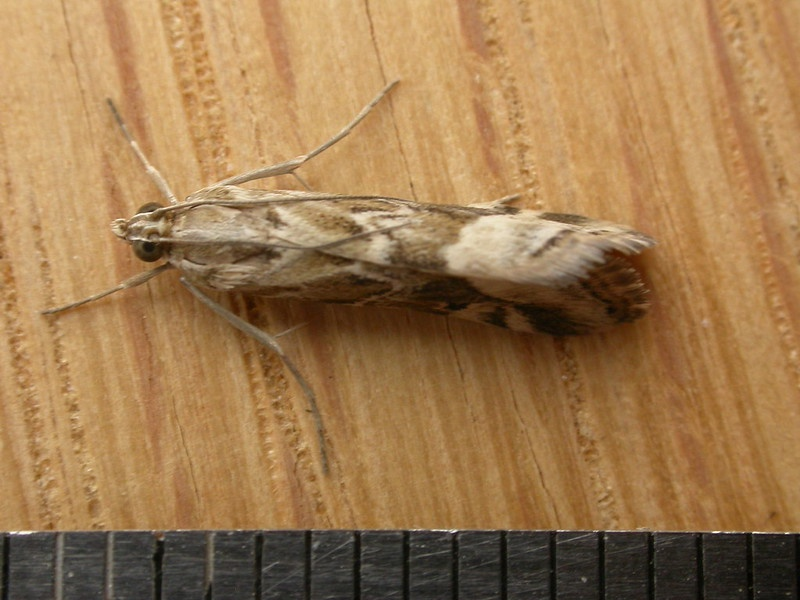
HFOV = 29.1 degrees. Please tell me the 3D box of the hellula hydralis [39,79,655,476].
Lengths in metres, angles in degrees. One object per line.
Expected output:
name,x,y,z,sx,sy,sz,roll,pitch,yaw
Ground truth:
hellula hydralis,-0.008,-0.134,3.576,1.266,0.240,0.354,8,66,6
